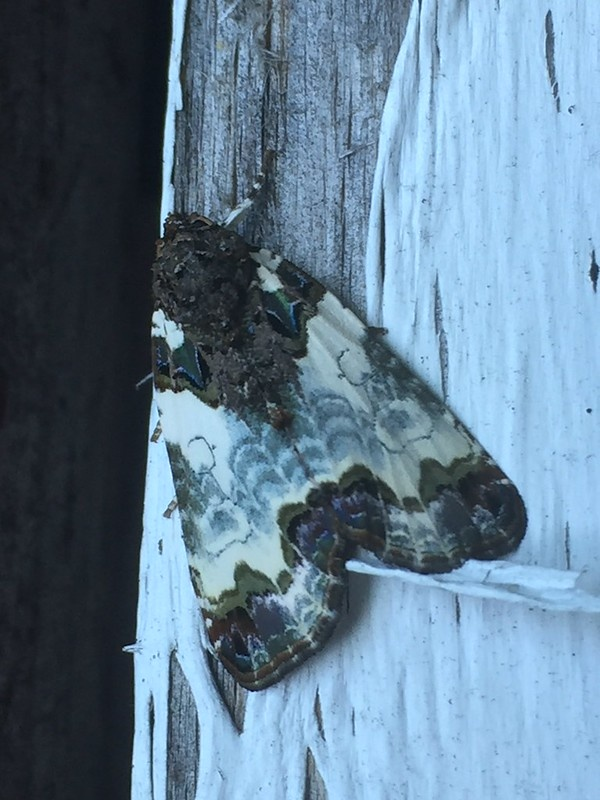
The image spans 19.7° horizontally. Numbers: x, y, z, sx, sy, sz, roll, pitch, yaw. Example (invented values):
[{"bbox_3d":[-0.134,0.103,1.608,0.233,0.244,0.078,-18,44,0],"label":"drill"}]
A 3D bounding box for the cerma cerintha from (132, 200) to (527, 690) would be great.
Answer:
[{"bbox_3d":[0.017,0.033,4.330,0.844,0.173,1.091,-23,85,-5],"label":"cerma cerintha"}]
